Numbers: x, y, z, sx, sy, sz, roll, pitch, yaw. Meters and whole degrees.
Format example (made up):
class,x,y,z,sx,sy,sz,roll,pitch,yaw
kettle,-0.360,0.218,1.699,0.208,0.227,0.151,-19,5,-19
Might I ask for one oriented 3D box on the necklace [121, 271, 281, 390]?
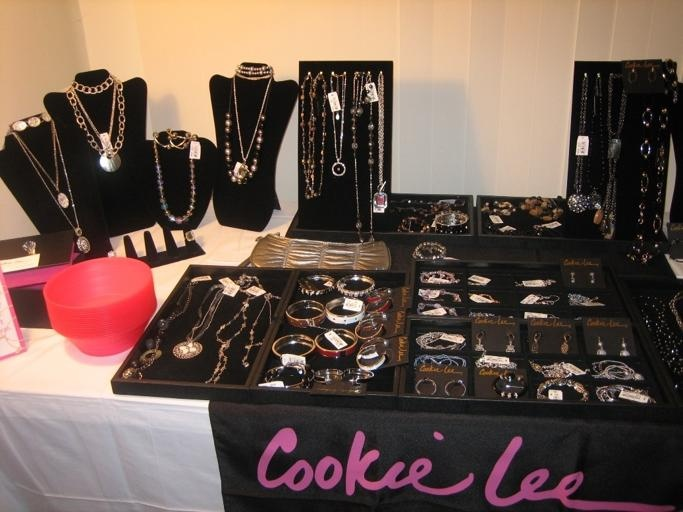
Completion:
class,x,y,z,sx,sy,sz,roll,pitch,yaw
necklace,-0.631,0.340,2.248,0.404,0.059,0.560,3,35,3

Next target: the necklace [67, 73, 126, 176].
class,x,y,z,sx,sy,sz,roll,pitch,yaw
necklace,-1.433,-0.814,2.771,0.319,0.622,0.085,-17,7,-20

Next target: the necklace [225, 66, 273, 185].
class,x,y,z,sx,sy,sz,roll,pitch,yaw
necklace,-0.589,-0.827,2.916,0.279,0.726,0.277,8,23,20

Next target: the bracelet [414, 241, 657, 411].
class,x,y,z,sx,sy,sz,roll,pitch,yaw
bracelet,0.798,0.296,2.062,0.977,0.334,0.900,3,21,7

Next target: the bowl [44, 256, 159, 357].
class,x,y,z,sx,sy,sz,roll,pitch,yaw
bowl,-1.086,0.284,2.276,0.508,0.311,0.494,2,35,-1
